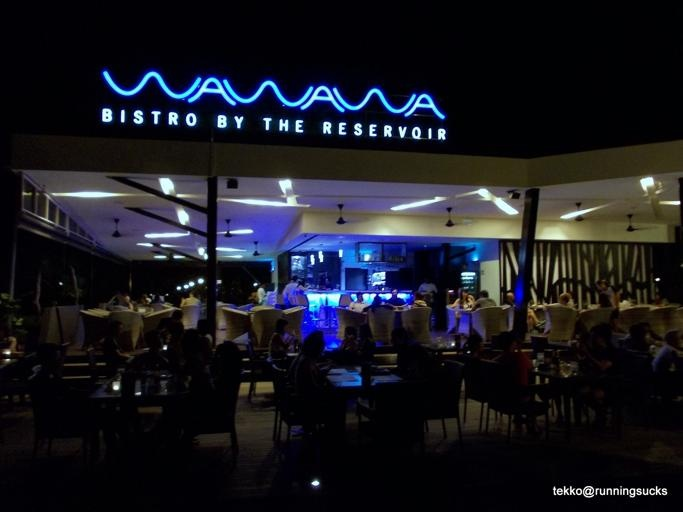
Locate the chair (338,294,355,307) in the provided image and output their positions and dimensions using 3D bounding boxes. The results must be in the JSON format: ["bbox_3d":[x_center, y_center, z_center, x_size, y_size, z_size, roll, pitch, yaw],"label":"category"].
[{"bbox_3d":[0.077,1.389,17.407,0.540,0.532,0.293,3,-9,-19],"label":"chair"}]

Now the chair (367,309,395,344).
[{"bbox_3d":[0.921,1.607,13.956,0.694,1.038,0.746,1,-3,-1],"label":"chair"}]

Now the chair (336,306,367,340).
[{"bbox_3d":[0.196,1.567,14.106,0.742,0.686,0.657,-3,0,-13],"label":"chair"}]

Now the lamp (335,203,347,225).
[{"bbox_3d":[-0.034,-1.063,15.888,0.383,0.590,0.400,1,-7,-2],"label":"lamp"}]

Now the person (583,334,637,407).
[{"bbox_3d":[4.307,1.714,9.740,0.753,1.082,1.068,5,13,23],"label":"person"}]

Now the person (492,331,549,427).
[{"bbox_3d":[2.758,2.035,9.306,0.851,1.578,0.853,4,13,19],"label":"person"}]

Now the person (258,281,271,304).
[{"bbox_3d":[-2.883,1.344,22.242,0.437,1.126,0.355,5,8,39],"label":"person"}]

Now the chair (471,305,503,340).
[{"bbox_3d":[3.524,1.603,14.476,0.768,0.998,0.866,0,1,-4],"label":"chair"}]

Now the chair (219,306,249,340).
[{"bbox_3d":[-2.566,1.579,14.248,0.834,0.897,0.835,-4,3,-19],"label":"chair"}]

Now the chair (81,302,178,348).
[{"bbox_3d":[-4.621,1.436,12.638,1.359,0.698,1.397,-4,-6,23],"label":"chair"}]

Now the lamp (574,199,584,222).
[{"bbox_3d":[6.099,-1.190,15.498,0.174,0.611,1.340,4,13,21],"label":"lamp"}]

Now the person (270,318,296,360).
[{"bbox_3d":[-1.033,1.525,11.154,0.562,0.753,0.459,5,10,39],"label":"person"}]

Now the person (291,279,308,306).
[{"bbox_3d":[-1.198,1.060,17.340,0.594,1.005,0.593,1,3,-8],"label":"person"}]

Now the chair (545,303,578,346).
[{"bbox_3d":[5.165,1.604,14.181,0.840,1.067,0.996,1,-2,13],"label":"chair"}]

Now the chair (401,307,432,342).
[{"bbox_3d":[1.761,1.606,14.351,0.736,0.855,0.783,-1,2,1],"label":"chair"}]

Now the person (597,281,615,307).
[{"bbox_3d":[6.762,0.965,15.368,0.462,0.586,1.027,5,13,22],"label":"person"}]

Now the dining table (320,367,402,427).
[{"bbox_3d":[0.266,1.747,8.827,0.994,0.449,1.261,-2,12,-9],"label":"dining table"}]

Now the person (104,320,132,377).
[{"bbox_3d":[-4.071,1.622,10.502,0.324,1.002,0.702,-1,-4,25],"label":"person"}]

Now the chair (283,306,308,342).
[{"bbox_3d":[-1.100,1.535,14.135,0.755,1.013,0.852,3,-2,-4],"label":"chair"}]

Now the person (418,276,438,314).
[{"bbox_3d":[2.588,1.351,18.478,0.608,0.491,1.534,1,36,9],"label":"person"}]

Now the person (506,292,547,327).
[{"bbox_3d":[4.866,1.429,15.960,0.976,0.867,1.694,3,13,17],"label":"person"}]

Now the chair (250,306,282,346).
[{"bbox_3d":[-1.784,1.607,13.631,0.769,0.947,0.857,0,3,-14],"label":"chair"}]

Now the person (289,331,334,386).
[{"bbox_3d":[-0.454,1.487,8.691,0.558,0.780,0.448,-2,12,-6],"label":"person"}]
